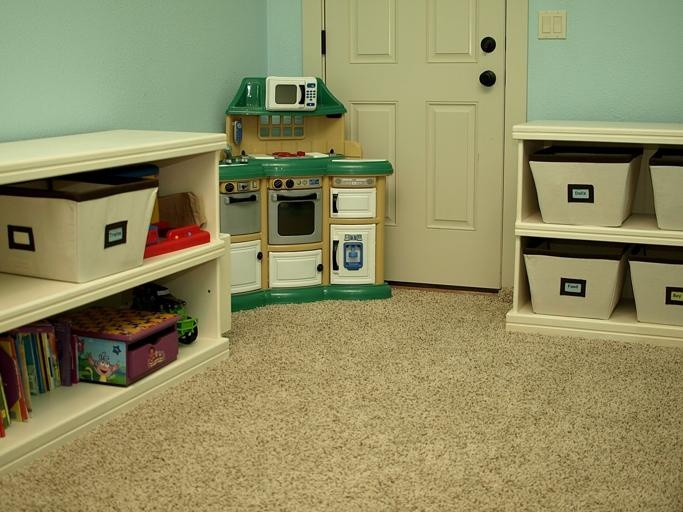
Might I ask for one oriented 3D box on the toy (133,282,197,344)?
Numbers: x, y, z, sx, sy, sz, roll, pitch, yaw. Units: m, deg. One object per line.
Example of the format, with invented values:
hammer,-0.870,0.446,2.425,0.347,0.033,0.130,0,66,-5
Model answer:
toy,-0.666,0.216,2.165,0.283,0.250,0.177,3,10,18
